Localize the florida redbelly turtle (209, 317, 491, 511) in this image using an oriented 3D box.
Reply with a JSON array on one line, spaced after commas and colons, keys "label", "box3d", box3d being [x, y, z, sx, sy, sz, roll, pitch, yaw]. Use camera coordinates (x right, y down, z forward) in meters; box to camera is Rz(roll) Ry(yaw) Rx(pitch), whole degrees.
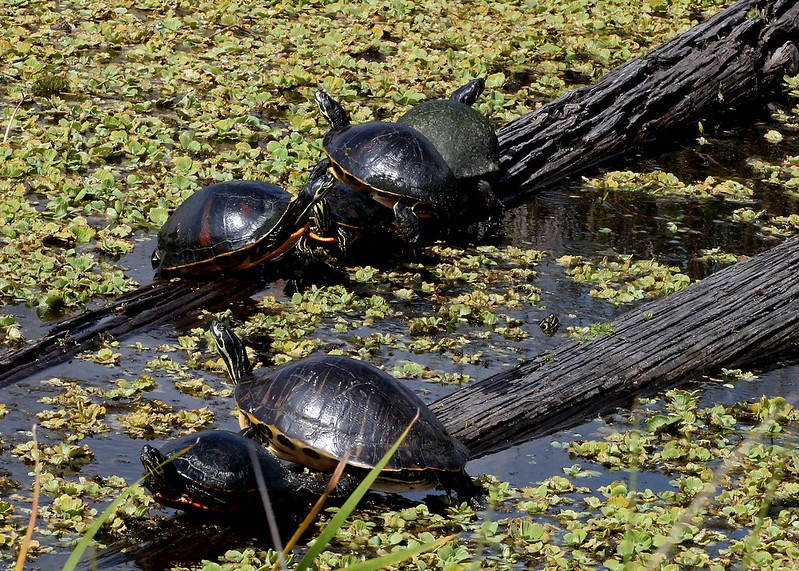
[{"label": "florida redbelly turtle", "box3d": [-0.435, 0.974, 6.636, 1.886, 0.392, 1.060, 16, 12, 17]}]
